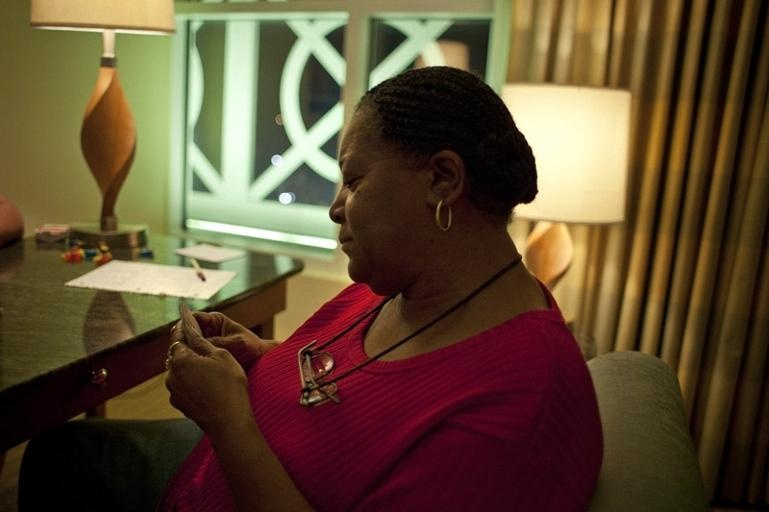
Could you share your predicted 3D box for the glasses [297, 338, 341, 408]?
[{"bbox_3d":[-0.161,0.280,1.484,0.098,0.034,0.170,-12,45,-10],"label":"glasses"}]
